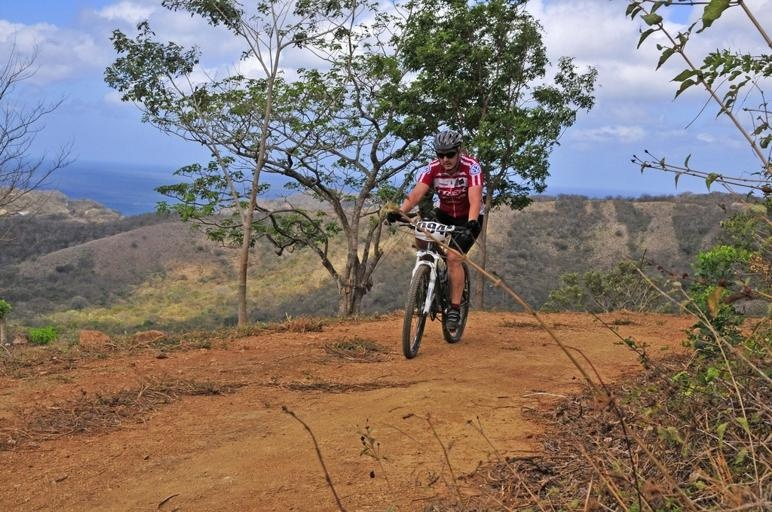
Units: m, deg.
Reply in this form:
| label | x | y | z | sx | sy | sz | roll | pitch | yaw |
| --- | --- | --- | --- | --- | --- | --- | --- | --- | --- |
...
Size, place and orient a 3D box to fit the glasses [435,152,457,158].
| label | x | y | z | sx | sy | sz | roll | pitch | yaw |
| --- | --- | --- | --- | --- | --- | --- | --- | --- | --- |
| glasses | 0.964 | -1.613 | 11.902 | 0.343 | 0.107 | 0.150 | 2 | 13 | 29 |

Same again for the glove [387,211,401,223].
| label | x | y | z | sx | sy | sz | roll | pitch | yaw |
| --- | --- | --- | --- | --- | --- | --- | --- | --- | --- |
| glove | 0.124 | -0.601 | 10.573 | 0.168 | 0.223 | 0.083 | 18 | 15 | 26 |

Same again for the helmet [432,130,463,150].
| label | x | y | z | sx | sy | sz | roll | pitch | yaw |
| --- | --- | --- | --- | --- | --- | --- | --- | --- | --- |
| helmet | 0.993 | -1.838 | 11.851 | 0.425 | 0.321 | 0.303 | -6 | 12 | -10 |
